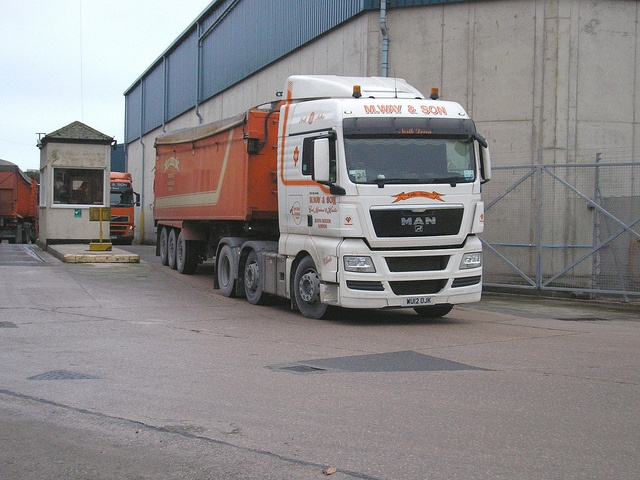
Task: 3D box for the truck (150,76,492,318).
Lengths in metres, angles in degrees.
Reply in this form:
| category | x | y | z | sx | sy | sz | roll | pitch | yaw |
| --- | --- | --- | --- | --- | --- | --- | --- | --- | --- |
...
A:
| category | x | y | z | sx | sy | sz | roll | pitch | yaw |
| --- | --- | --- | --- | --- | --- | --- | --- | --- | --- |
| truck | -0.163 | -0.844 | 15.745 | 3.382 | 4.770 | 10.009 | 0 | 0 | -28 |

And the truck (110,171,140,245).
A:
| category | x | y | z | sx | sy | sz | roll | pitch | yaw |
| --- | --- | --- | --- | --- | --- | --- | --- | --- | --- |
| truck | -11.351 | -1.865 | 38.430 | 1.254 | 3.623 | 1.824 | 0 | 4 | -15 |
